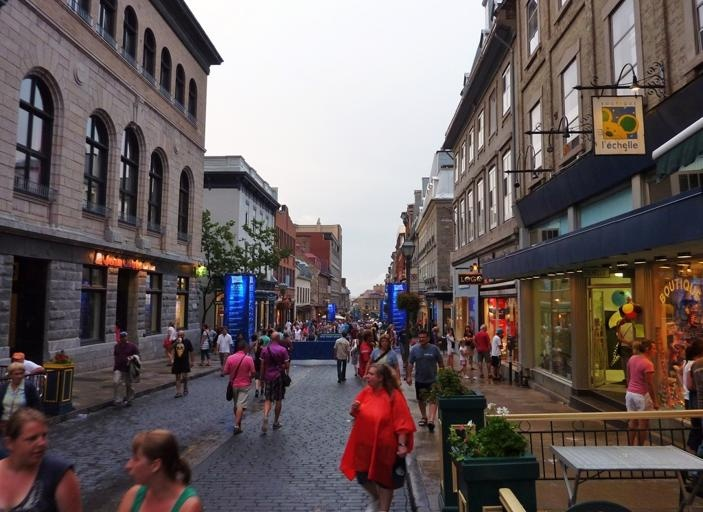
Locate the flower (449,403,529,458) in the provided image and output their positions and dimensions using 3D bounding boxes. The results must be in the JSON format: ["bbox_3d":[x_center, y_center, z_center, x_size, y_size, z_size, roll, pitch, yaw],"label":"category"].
[{"bbox_3d":[1.859,2.521,7.791,0.789,0.561,0.875,4,-11,-16],"label":"flower"}]

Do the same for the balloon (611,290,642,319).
[{"bbox_3d":[6.631,1.219,13.313,0.363,0.370,0.842,20,6,8],"label":"balloon"}]

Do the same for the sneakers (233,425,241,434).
[{"bbox_3d":[-2.643,4.039,12.838,0.069,0.108,0.234,2,-1,3],"label":"sneakers"}]
